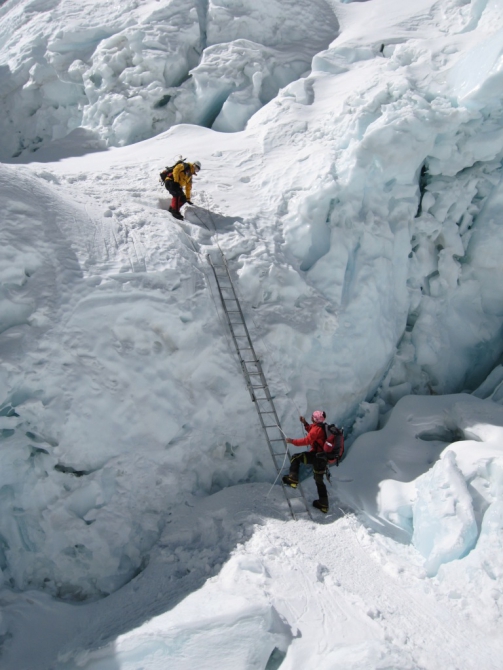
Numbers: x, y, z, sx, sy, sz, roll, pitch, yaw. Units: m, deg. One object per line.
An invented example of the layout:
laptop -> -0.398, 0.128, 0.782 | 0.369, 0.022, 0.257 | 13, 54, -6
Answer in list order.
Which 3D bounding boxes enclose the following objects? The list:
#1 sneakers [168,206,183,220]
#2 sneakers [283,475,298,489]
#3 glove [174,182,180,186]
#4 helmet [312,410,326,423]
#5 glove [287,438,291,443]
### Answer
sneakers -> -1.081, -1.727, 9.493 | 0.205, 0.065, 0.230 | -14, 62, -24
sneakers -> 0.414, 1.645, 7.401 | 0.215, 0.136, 0.083 | -22, 42, 61
glove -> -1.077, -2.172, 9.519 | 0.072, 0.032, 0.019 | 17, 4, 31
helmet -> 0.778, 0.931, 7.578 | 0.164, 0.139, 0.125 | 0, 4, -9
glove -> 0.415, 1.166, 7.334 | 0.058, 0.014, 0.050 | -5, 63, 39
